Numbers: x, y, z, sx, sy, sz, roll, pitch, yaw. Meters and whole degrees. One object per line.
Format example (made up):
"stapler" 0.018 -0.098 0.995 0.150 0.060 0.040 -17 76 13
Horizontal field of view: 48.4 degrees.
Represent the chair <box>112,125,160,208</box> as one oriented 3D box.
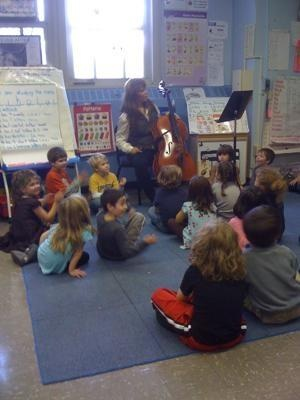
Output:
"chair" -0.220 -0.300 3.859 0.533 1.008 0.609 -10 16 -33
